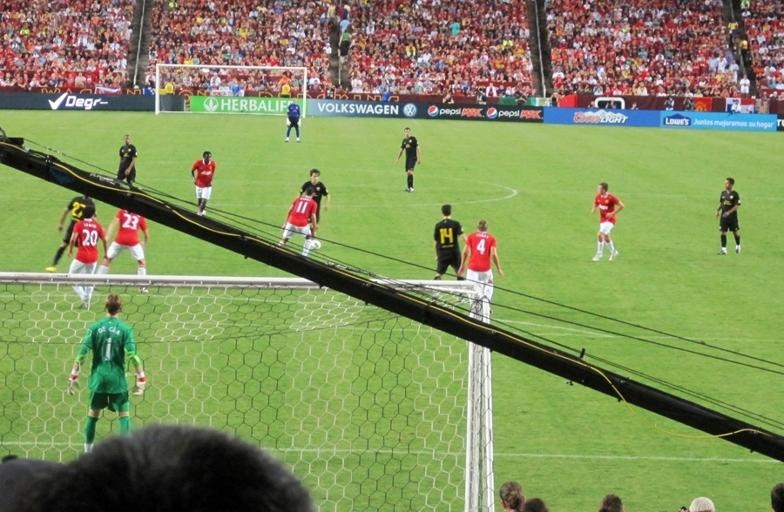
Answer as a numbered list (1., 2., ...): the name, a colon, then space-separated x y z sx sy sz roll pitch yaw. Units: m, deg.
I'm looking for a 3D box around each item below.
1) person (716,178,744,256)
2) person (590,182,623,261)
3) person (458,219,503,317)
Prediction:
1. person: 12.748 -1.532 55.525 1.092 3.018 1.001 1 1 6
2. person: 7.807 -1.304 54.698 1.232 3.114 1.352 1 3 19
3. person: 3.178 0.263 49.262 1.173 2.903 1.502 2 3 23
